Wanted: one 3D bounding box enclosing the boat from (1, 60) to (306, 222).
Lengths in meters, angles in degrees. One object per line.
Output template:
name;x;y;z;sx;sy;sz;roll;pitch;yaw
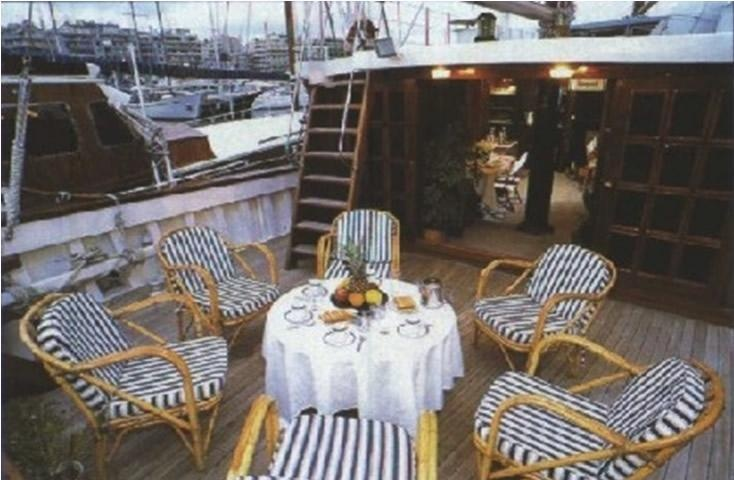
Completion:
boat;-2.793;-1.370;6.764;3.576;1.163;0.703;-24;54;-41

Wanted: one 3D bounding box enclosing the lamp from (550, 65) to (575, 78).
lamp;2.366;-2.059;6.329;0.200;0.150;0.253;-10;23;-23

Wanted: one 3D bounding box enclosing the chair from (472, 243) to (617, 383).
chair;1.937;0.737;5.742;1.444;1.181;1.095;-9;23;-19

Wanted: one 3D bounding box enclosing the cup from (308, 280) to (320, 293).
cup;-0.530;0.472;5.343;0.126;0.116;0.122;1;13;0

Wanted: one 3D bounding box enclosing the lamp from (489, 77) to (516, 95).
lamp;3.298;-3.684;12.594;0.580;0.432;1.352;4;21;12

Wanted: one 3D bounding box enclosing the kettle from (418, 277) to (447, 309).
kettle;0.676;0.548;5.353;0.251;0.293;0.289;1;5;4

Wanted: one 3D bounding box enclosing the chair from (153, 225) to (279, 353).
chair;-1.719;0.495;6.136;1.252;0.982;1.078;17;24;37

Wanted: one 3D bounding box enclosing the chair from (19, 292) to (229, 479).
chair;-2.190;1.266;5.113;1.994;1.666;1.499;1;33;-19

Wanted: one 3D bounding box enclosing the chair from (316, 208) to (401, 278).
chair;-0.061;0.086;6.629;0.788;0.789;1.069;-22;8;-8

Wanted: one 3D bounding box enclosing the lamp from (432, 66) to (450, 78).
lamp;0.981;-2.238;6.903;0.258;0.132;0.051;12;26;24
